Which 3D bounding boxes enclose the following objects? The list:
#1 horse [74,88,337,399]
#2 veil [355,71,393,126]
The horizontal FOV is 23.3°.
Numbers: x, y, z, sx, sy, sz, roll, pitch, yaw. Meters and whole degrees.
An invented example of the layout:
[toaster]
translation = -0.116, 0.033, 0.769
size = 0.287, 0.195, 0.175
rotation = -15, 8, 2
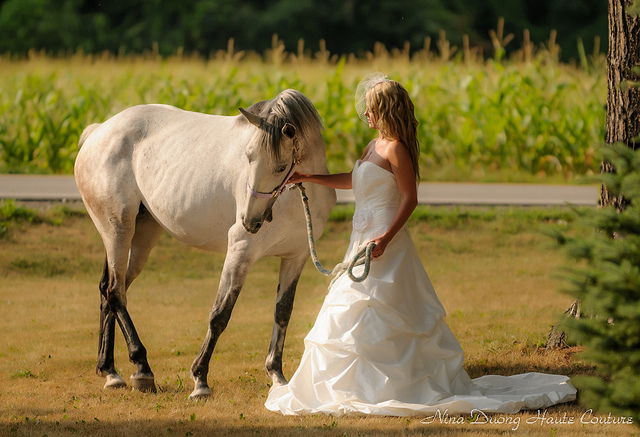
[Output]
[horse]
translation = -2.614, 0.544, 32.620
size = 6.136, 6.408, 1.956
rotation = 1, 5, 23
[veil]
translation = 1.017, -2.464, 31.618
size = 0.609, 1.070, 0.594
rotation = 4, 10, 10
